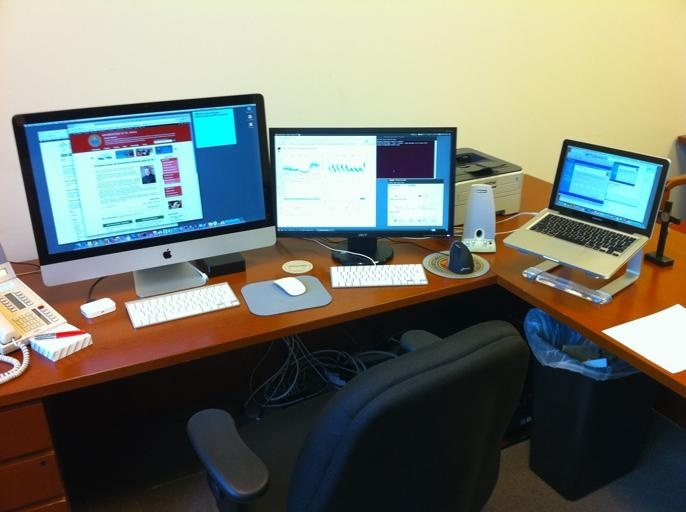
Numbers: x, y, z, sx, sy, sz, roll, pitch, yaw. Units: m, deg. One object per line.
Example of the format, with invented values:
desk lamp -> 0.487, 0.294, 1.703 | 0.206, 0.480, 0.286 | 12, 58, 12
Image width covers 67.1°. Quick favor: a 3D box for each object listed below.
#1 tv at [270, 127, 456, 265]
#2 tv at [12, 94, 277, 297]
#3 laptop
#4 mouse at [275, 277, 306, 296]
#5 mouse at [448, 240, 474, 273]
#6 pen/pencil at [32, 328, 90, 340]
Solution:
tv -> 0.075, -0.247, 1.988 | 0.553, 0.391, 0.160 | -1, 23, -2
tv -> -0.670, -0.201, 1.786 | 0.695, 0.522, 0.197 | -11, 32, -24
laptop -> 0.975, -0.117, 2.012 | 0.566, 0.379, 0.569 | -34, 40, -24
mouse -> -0.189, 0.109, 1.862 | 0.104, 0.038, 0.100 | -10, 25, -12
mouse -> 0.451, -0.001, 1.986 | 0.102, 0.116, 0.146 | -3, 14, -7
pen/pencil -> -0.883, 0.243, 1.603 | 0.134, 0.018, 0.019 | -6, -16, -4
